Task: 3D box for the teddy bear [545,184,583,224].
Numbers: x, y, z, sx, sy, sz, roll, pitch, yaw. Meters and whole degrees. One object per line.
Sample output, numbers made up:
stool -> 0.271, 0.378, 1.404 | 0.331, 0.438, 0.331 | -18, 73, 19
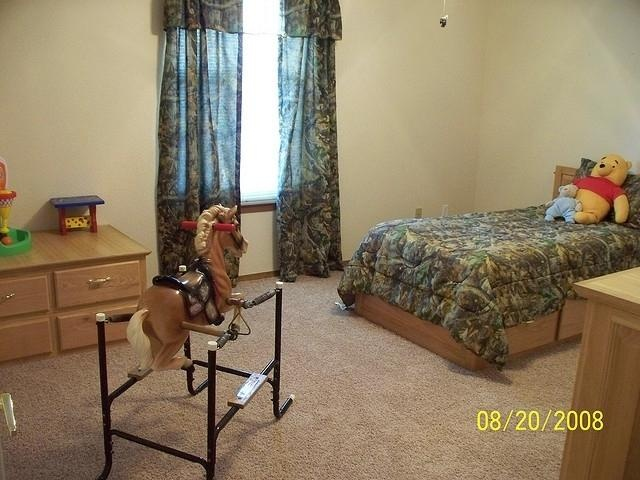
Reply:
teddy bear -> 1.950, -0.297, 3.933 | 0.270, 0.378, 0.223 | 10, -7, 33
